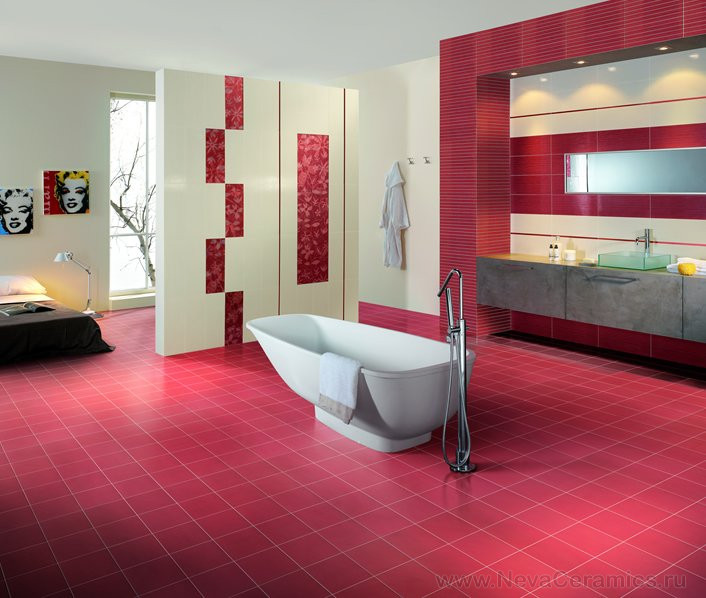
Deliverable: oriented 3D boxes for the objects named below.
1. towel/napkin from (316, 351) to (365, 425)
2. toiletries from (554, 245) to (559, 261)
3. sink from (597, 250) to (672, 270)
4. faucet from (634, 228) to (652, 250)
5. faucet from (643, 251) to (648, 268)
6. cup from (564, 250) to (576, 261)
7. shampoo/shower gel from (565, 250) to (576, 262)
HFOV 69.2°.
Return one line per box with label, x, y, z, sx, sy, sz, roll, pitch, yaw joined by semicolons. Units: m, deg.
towel/napkin;-0.078;0.506;2.967;0.116;0.363;0.363;-5;17;-40
toiletries;2.206;-0.511;5.513;0.060;0.158;0.179;3;9;22
sink;2.622;-0.360;4.766;0.613;0.151;0.371;4;9;26
faucet;2.782;-0.560;4.873;0.123;0.210;0.254;0;8;5
faucet;2.635;-0.332;4.610;0.033;0.120;0.092;4;9;29
cup;2.273;-0.460;5.397;0.118;0.098;0.121;-1;3;0
shampoo/shower gel;2.276;-0.449;5.407;0.122;0.117;0.116;-5;10;-29
